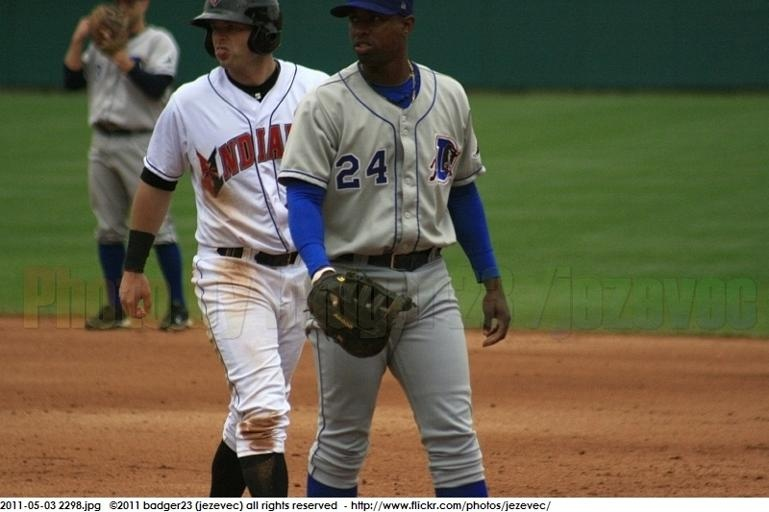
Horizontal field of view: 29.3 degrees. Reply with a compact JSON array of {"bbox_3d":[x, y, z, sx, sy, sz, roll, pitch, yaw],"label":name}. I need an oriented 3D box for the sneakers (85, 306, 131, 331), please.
[{"bbox_3d":[-2.758,0.627,14.442,0.371,0.115,0.250,-8,-19,15],"label":"sneakers"}]

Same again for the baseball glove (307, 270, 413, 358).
[{"bbox_3d":[-0.216,0.416,11.129,0.776,0.581,0.343,39,-12,-13],"label":"baseball glove"}]
